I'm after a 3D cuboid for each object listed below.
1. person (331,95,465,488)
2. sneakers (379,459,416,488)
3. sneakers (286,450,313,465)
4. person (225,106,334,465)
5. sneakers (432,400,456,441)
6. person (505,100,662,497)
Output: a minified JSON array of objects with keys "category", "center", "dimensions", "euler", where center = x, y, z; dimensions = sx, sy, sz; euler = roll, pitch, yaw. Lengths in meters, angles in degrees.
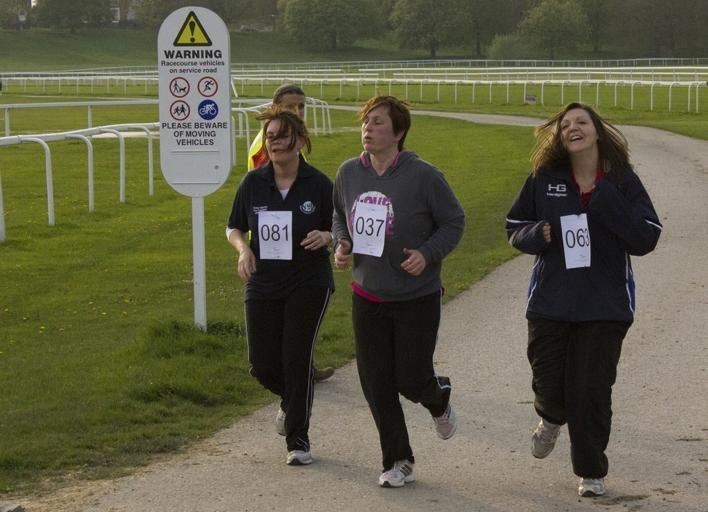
[{"category":"person","center":[0.304,0.227,7.362],"dimensions":[0.920,2.626,0.780],"euler":[1,11,8]},{"category":"sneakers","center":[0.319,1.514,7.243],"dimensions":[0.267,0.160,0.124],"euler":[-1,-3,-33]},{"category":"sneakers","center":[-0.380,1.446,7.483],"dimensions":[0.195,0.082,0.079],"euler":[0,-3,-10]},{"category":"person","center":[-0.506,0.184,7.767],"dimensions":[0.782,2.463,1.095],"euler":[-3,11,-10]},{"category":"sneakers","center":[0.678,1.202,7.689],"dimensions":[0.146,0.178,0.425],"euler":[-21,12,15]},{"category":"person","center":[1.572,0.263,7.316],"dimensions":[0.912,2.589,0.774],"euler":[9,14,38]}]
